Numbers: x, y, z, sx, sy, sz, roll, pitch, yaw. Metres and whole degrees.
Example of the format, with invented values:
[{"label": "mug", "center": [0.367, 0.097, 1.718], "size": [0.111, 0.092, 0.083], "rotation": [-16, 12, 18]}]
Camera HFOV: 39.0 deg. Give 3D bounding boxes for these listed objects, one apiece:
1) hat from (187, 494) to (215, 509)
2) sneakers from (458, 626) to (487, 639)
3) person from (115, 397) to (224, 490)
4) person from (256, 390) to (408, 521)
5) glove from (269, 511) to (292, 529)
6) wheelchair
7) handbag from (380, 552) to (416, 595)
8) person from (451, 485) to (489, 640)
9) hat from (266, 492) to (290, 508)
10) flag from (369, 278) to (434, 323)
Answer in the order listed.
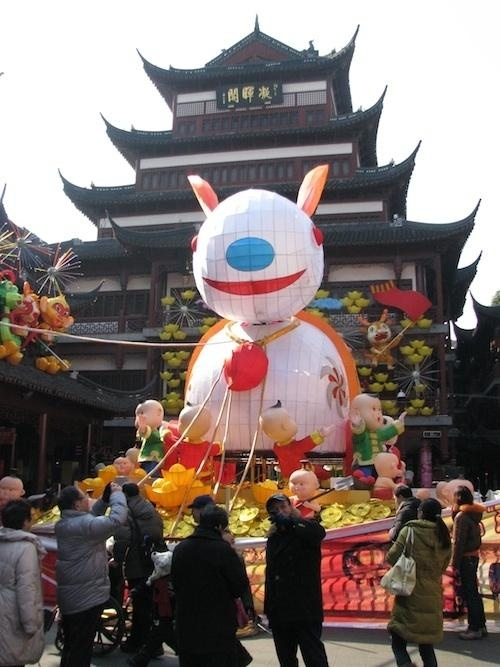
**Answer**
[{"label": "hat", "center": [-0.241, 0.828, 3.471], "size": [0.138, 0.060, 0.088], "rotation": [1, -8, -4]}, {"label": "sneakers", "center": [1.576, 2.117, 5.004], "size": [0.202, 0.074, 0.070], "rotation": [0, -19, 8]}, {"label": "person", "center": [-0.752, 1.074, 7.182], "size": [1.058, 0.861, 0.752], "rotation": [3, 2, 16]}, {"label": "person", "center": [0.736, 1.114, 6.535], "size": [1.447, 0.854, 0.434], "rotation": [3, -23, -22]}, {"label": "glove", "center": [0.158, 0.963, 3.665], "size": [0.085, 0.080, 0.101], "rotation": [-1, -33, -15]}, {"label": "wheelchair", "center": [-1.184, 1.868, 4.958], "size": [0.625, 0.774, 0.522], "rotation": [-2, -18, -17]}, {"label": "handbag", "center": [0.813, 1.317, 3.862], "size": [0.096, 0.231, 0.194], "rotation": [13, -19, -42]}, {"label": "person", "center": [1.597, 1.638, 5.092], "size": [0.249, 1.044, 0.359], "rotation": [-5, -15, 15]}, {"label": "hat", "center": [0.147, 0.896, 3.823], "size": [0.096, 0.033, 0.120], "rotation": [-10, -23, 1]}, {"label": "flag", "center": [4.427, -0.956, 20.575], "size": [1.626, 1.466, 0.924], "rotation": [-3, -14, 12]}]
